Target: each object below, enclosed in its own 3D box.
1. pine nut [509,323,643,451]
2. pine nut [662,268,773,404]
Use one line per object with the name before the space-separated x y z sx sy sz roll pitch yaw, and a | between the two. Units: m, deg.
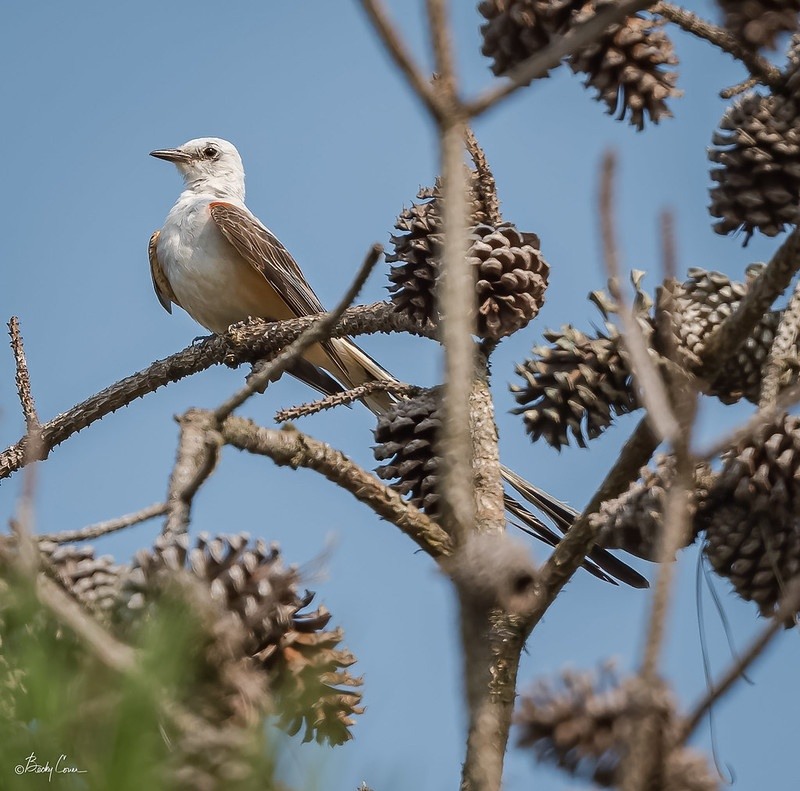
pine nut | 0.280 -0.021 3.586 0.174 0.318 0.200 4 -2 -34
pine nut | 0.497 -0.085 3.234 0.140 0.156 0.137 20 -34 -18
